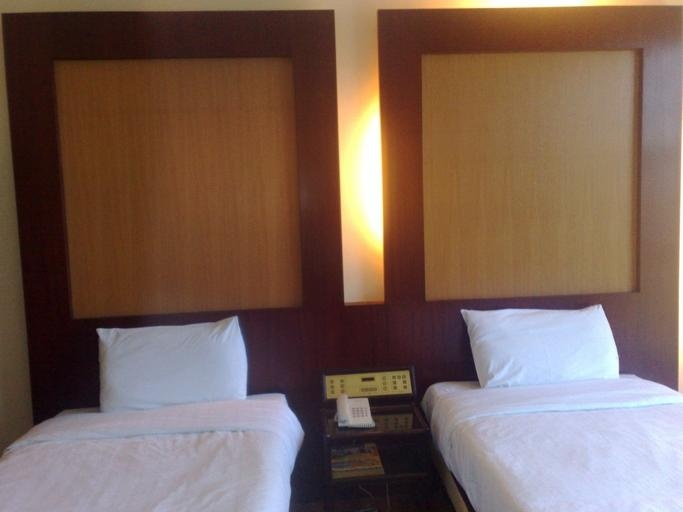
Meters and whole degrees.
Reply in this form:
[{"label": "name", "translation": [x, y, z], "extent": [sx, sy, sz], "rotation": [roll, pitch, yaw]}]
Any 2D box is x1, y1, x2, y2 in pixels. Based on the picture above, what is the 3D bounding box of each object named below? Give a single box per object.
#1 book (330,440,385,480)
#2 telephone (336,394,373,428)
[{"label": "book", "translation": [0.078, 1.138, 3.302], "extent": [0.292, 0.139, 0.235], "rotation": [-6, 1, -3]}, {"label": "telephone", "translation": [0.084, 0.888, 3.388], "extent": [0.197, 0.105, 0.269], "rotation": [0, 9, -4]}]
